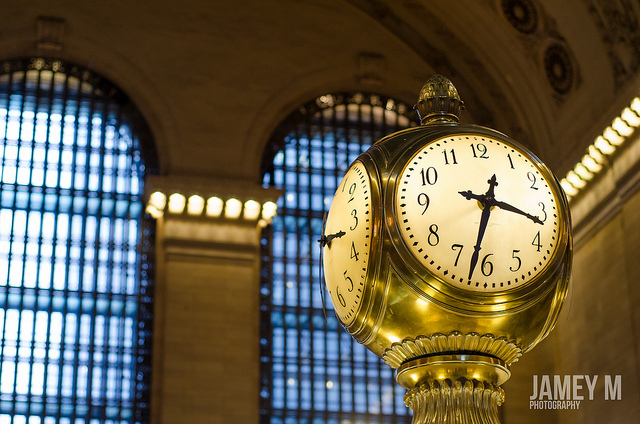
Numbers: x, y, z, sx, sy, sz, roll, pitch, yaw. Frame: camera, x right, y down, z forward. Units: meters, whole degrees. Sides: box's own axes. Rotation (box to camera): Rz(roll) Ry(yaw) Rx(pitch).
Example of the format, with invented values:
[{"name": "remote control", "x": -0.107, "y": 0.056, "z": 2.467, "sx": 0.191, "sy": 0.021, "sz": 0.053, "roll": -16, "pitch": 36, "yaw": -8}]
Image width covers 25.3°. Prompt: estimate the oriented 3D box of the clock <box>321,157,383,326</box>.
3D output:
[{"name": "clock", "x": 0.285, "y": 0.252, "z": 12.733, "sx": 0.637, "sy": 1.450, "sz": 0.301, "roll": -10, "pitch": -19, "yaw": 39}]
